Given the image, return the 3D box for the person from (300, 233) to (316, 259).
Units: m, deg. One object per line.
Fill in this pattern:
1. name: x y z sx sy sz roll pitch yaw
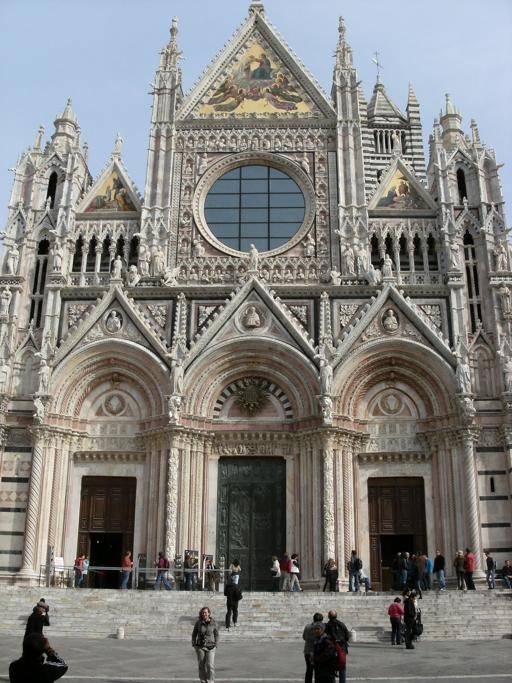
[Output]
1. person: 1.747 -3.182 23.701 0.453 0.964 0.316 -4 -17 10

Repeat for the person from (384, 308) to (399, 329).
1. person: 4.104 -0.638 21.853 0.478 0.755 0.184 -2 -17 2

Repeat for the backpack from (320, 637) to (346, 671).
1. backpack: 0.735 2.957 6.734 0.137 0.330 0.454 -8 -18 22

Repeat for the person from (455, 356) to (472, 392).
1. person: 6.002 1.007 20.764 0.361 1.174 0.268 -3 -17 6

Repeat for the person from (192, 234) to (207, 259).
1. person: -1.901 -3.158 23.855 0.443 0.890 0.278 -1 -17 -1

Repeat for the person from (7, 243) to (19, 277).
1. person: -8.076 -2.733 23.831 0.360 1.250 0.357 5 -18 -20

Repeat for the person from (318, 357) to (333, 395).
1. person: 2.030 1.064 20.922 0.349 1.120 0.325 -1 -17 -1

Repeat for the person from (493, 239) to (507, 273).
1. person: 7.830 -2.738 22.918 0.538 1.232 0.271 7 -19 -25

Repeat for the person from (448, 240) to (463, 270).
1. person: 6.338 -2.697 22.810 0.333 1.217 0.747 -8 -18 20

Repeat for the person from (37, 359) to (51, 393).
1. person: -6.331 1.056 21.455 0.349 1.110 0.272 3 -18 -14

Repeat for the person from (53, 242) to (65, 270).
1. person: -6.455 -2.750 23.348 0.335 1.138 0.305 0 -17 -5

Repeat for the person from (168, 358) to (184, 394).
1. person: -2.344 1.082 21.236 0.398 1.111 0.302 1 -17 -6
